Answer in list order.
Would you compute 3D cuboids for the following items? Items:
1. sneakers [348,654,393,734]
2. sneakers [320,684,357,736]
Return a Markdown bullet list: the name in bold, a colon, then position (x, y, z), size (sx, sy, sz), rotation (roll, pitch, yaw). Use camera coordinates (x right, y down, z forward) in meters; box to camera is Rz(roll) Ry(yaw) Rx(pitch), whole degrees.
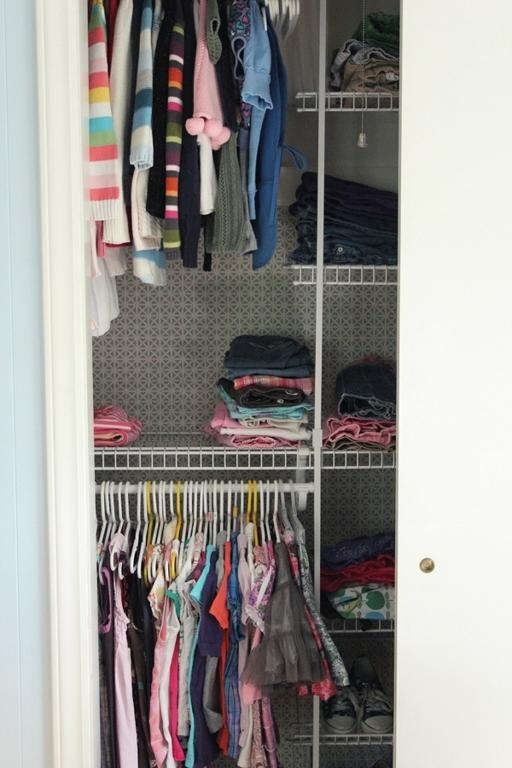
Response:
- **sneakers**: position (0.288, 0.772, 2.055), size (0.054, 0.065, 0.161), rotation (-4, 19, -1)
- **sneakers**: position (0.207, 0.803, 2.046), size (0.055, 0.061, 0.147), rotation (0, -6, 2)
